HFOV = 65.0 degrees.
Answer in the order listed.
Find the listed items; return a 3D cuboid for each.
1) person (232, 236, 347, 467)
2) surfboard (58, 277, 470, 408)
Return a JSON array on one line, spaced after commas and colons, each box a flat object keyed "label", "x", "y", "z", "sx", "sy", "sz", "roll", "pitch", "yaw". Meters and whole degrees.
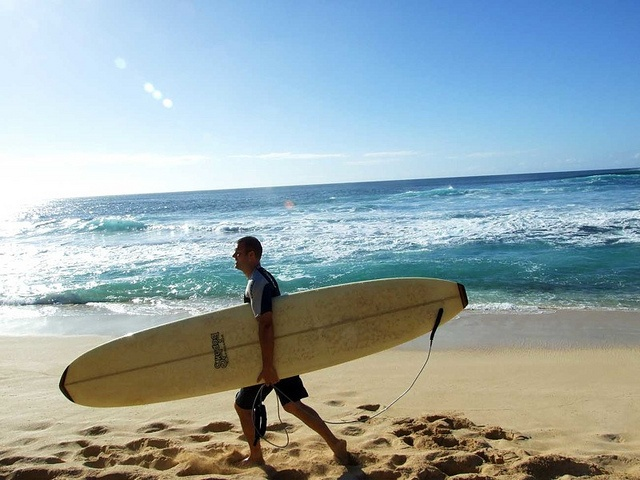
[{"label": "person", "x": -0.334, "y": 0.996, "z": 4.570, "sx": 0.977, "sy": 2.073, "sz": 0.388, "roll": -2, "pitch": 9, "yaw": -1}, {"label": "surfboard", "x": -0.913, "y": 1.113, "z": 4.972, "sx": 5.317, "sy": 1.072, "sz": 0.427, "roll": -17, "pitch": -41, "yaw": 27}]
